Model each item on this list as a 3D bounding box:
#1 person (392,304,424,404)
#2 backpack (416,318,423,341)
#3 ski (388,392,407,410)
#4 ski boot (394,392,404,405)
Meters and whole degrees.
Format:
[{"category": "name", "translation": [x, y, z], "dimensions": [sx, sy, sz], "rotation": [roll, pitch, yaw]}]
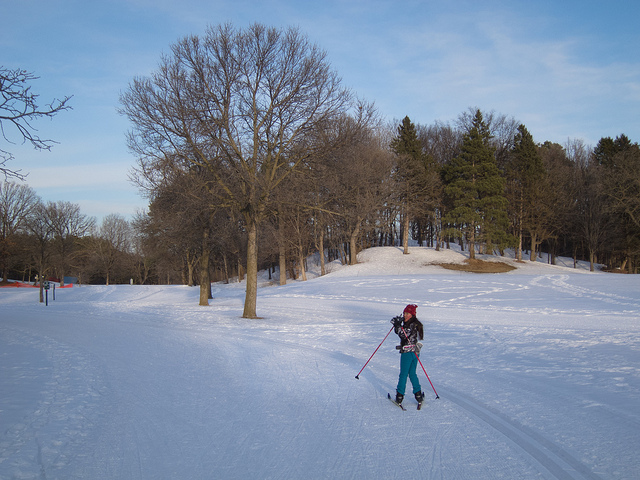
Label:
[{"category": "person", "translation": [2.153, 2.784, 13.799], "dimensions": [0.738, 2.346, 0.876], "rotation": [-1, 2, 10]}, {"category": "backpack", "translation": [2.435, 2.163, 13.667], "dimensions": [0.107, 0.371, 0.269], "rotation": [-8, -15, -1]}, {"category": "ski", "translation": [1.839, 3.919, 13.685], "dimensions": [0.128, 0.129, 0.880], "rotation": [-15, 25, -19]}, {"category": "ski boot", "translation": [1.900, 3.800, 13.569], "dimensions": [0.211, 0.312, 0.276], "rotation": [-1, 2, 7]}]
